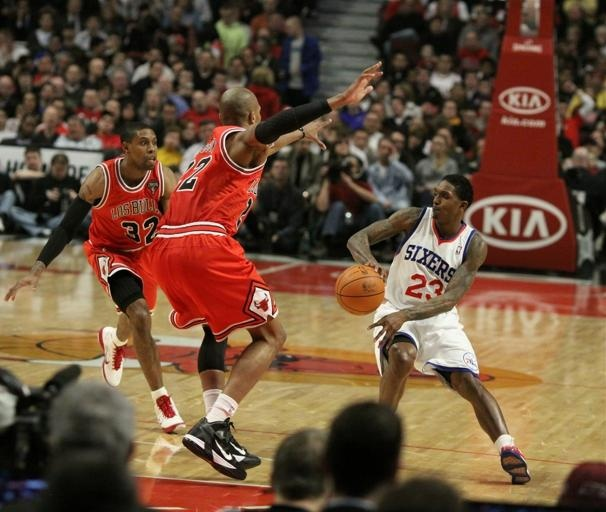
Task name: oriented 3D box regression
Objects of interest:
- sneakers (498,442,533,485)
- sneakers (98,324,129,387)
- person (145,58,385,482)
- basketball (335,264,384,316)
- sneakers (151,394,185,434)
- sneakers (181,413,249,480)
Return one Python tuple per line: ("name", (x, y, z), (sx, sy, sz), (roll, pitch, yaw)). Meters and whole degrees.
("sneakers", (1.088, 1.056, 3.556), (0.103, 0.242, 0.110), (-22, 29, 31))
("sneakers", (-1.245, 0.662, 4.824), (0.185, 0.418, 0.238), (-13, 12, -39))
("person", (-0.473, 0.124, 3.682), (0.887, 1.957, 0.896), (10, 15, 31))
("basketball", (0.354, 0.199, 4.071), (0.330, 0.273, 0.283), (-4, 7, 7))
("sneakers", (-0.797, 0.926, 4.160), (0.122, 0.191, 0.315), (-33, 22, -28))
("sneakers", (-0.451, 0.958, 3.493), (0.303, 0.271, 0.194), (-1, 12, -15))
